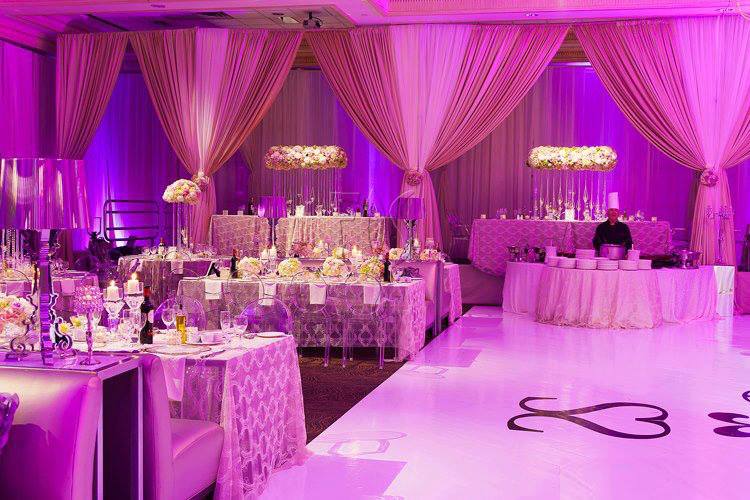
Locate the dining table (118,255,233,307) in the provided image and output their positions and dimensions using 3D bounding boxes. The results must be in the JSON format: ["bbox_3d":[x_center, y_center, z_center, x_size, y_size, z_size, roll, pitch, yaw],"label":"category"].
[{"bbox_3d":[-3.321,0.388,8.490,1.152,0.778,1.237,0,-3,1],"label":"dining table"}]

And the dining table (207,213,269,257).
[{"bbox_3d":[-2.614,-0.291,10.785,0.923,0.682,0.992,0,-1,4],"label":"dining table"}]

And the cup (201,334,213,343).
[{"bbox_3d":[-1.095,0.566,3.557,0.057,0.048,0.060,1,6,0],"label":"cup"}]

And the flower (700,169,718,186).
[{"bbox_3d":[5.903,-1.277,9.625,0.284,0.309,0.143,0,1,26],"label":"flower"}]

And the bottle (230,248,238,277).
[{"bbox_3d":[-1.807,0.174,6.944,0.103,0.331,0.439,-1,1,-15],"label":"bottle"}]

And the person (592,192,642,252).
[{"bbox_3d":[4.034,-0.502,9.320,0.571,1.020,0.850,0,1,23],"label":"person"}]

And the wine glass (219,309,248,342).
[{"bbox_3d":[-0.933,0.512,3.652,0.164,0.309,0.191,-1,-4,10],"label":"wine glass"}]

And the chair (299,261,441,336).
[{"bbox_3d":[0.077,0.738,7.016,1.191,0.685,1.277,0,2,18],"label":"chair"}]

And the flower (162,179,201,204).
[{"bbox_3d":[-3.288,-0.985,9.382,0.500,0.394,0.520,-3,4,6],"label":"flower"}]

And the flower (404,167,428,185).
[{"bbox_3d":[0.739,-1.382,10.310,0.406,0.295,0.189,0,1,0],"label":"flower"}]

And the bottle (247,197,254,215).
[{"bbox_3d":[-3.352,-1.179,14.582,0.132,0.380,0.536,-1,1,-22],"label":"bottle"}]

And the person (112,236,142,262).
[{"bbox_3d":[-5.363,-0.031,11.706,0.564,0.883,0.576,1,0,-15],"label":"person"}]

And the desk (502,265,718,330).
[{"bbox_3d":[4.024,0.710,8.617,2.701,0.933,0.900,-1,1,-13],"label":"desk"}]

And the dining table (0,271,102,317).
[{"bbox_3d":[-2.672,0.359,4.436,0.606,0.340,0.650,1,-1,-3],"label":"dining table"}]

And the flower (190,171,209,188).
[{"bbox_3d":[-3.409,-1.390,10.664,0.309,0.381,0.155,0,-18,-12],"label":"flower"}]
